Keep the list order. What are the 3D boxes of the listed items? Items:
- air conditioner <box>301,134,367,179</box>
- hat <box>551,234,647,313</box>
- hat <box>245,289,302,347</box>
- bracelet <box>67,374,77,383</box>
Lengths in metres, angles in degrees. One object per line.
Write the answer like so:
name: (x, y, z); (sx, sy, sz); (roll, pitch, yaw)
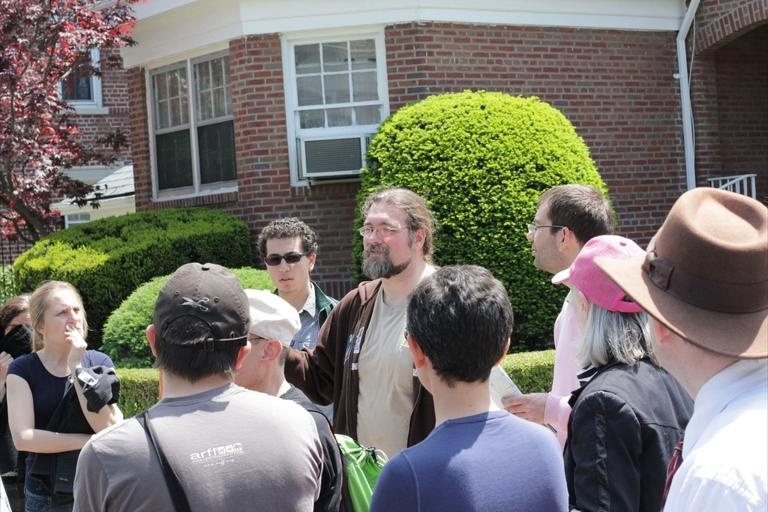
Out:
air conditioner: (-0.698, -1.374, 13.021); (0.871, 0.570, 0.265); (-1, 0, 1)
hat: (1.487, 0.059, 6.544); (0.603, 0.330, 0.443); (0, -19, -14)
hat: (-0.756, 0.420, 6.410); (0.301, 0.203, 0.411); (17, -2, 5)
bracelet: (-2.442, 0.962, 7.372); (0.058, 0.087, 0.041); (5, 1, 19)
